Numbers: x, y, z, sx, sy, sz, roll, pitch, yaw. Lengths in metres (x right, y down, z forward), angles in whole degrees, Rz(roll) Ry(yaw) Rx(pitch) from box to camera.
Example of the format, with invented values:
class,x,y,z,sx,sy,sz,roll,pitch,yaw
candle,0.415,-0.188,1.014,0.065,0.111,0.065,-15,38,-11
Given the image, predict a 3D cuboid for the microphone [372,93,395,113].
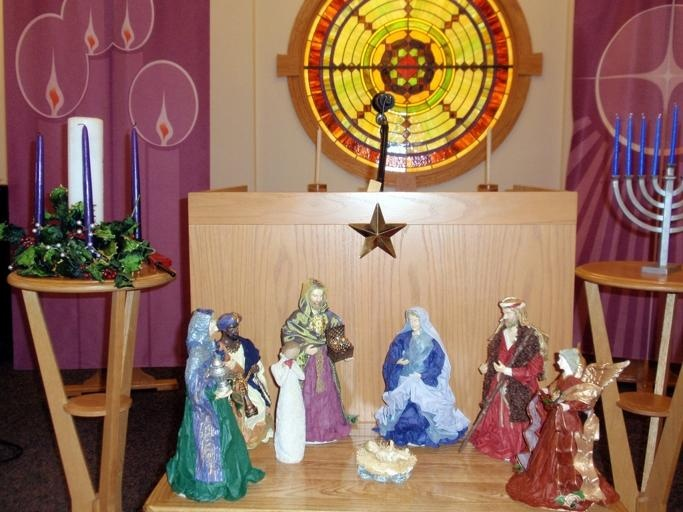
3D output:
class,x,y,z,sx,sy,sz,roll,pitch,yaw
microphone,0.206,-0.717,3.108,0.089,0.127,0.291,1,6,6
